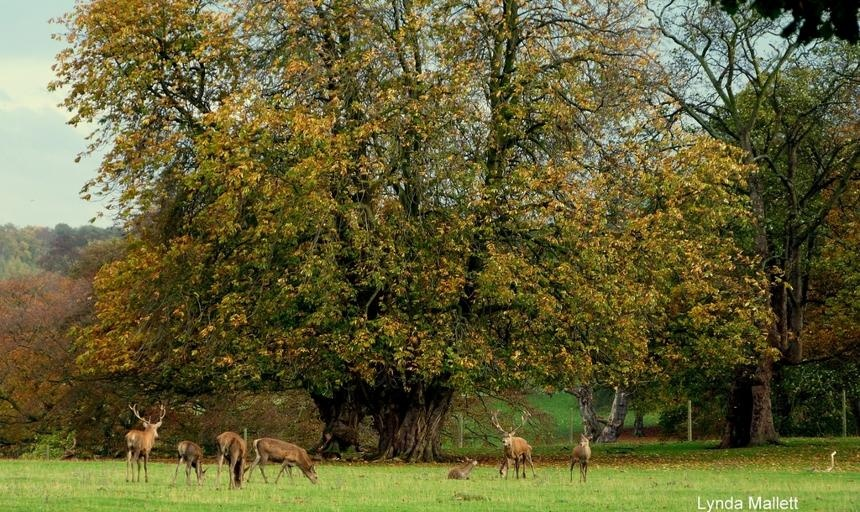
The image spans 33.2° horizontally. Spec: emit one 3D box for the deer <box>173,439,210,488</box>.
[{"bbox_3d":[-11.121,9.828,67.544,0.651,2.060,2.807,-1,-13,13],"label":"deer"}]

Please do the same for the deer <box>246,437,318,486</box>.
[{"bbox_3d":[-6.920,9.697,67.849,3.109,2.107,2.546,-5,0,3],"label":"deer"}]

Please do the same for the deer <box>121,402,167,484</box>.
[{"bbox_3d":[-15.027,9.882,75.470,1.479,4.181,2.371,1,0,21],"label":"deer"}]

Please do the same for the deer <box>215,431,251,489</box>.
[{"bbox_3d":[-9.191,9.394,66.703,1.357,2.501,2.564,-5,0,-9],"label":"deer"}]
